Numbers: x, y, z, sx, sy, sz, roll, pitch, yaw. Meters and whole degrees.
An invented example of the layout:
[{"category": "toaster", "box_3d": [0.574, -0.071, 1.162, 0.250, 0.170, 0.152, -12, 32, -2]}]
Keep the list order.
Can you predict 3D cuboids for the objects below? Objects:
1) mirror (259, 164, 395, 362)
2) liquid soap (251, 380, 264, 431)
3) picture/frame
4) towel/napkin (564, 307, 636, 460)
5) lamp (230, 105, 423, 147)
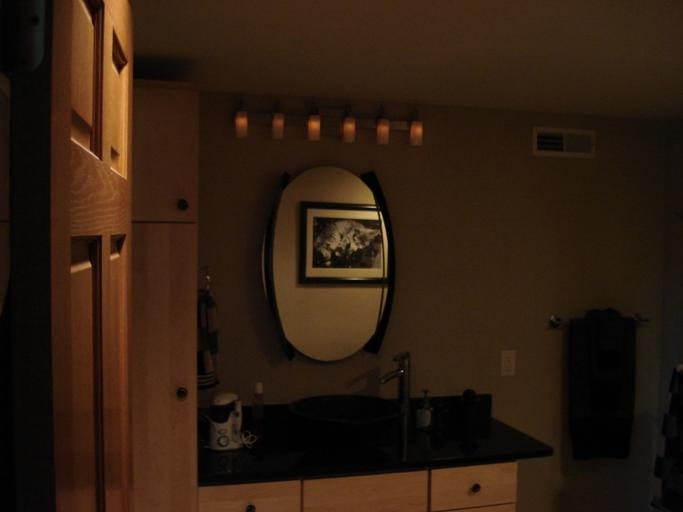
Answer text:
[{"category": "mirror", "box_3d": [-0.057, 0.078, 3.382, 0.595, 1.022, 0.141, 2, -28, 0]}, {"category": "liquid soap", "box_3d": [-0.371, 0.667, 3.084, 0.041, 0.215, 0.130, 3, -6, -11]}, {"category": "picture/frame", "box_3d": [-0.015, -0.067, 3.359, 0.317, 0.349, 0.023, 0, 1, -9]}, {"category": "towel/napkin", "box_3d": [1.299, 0.643, 3.520, 0.339, 0.750, 0.070, 3, -6, -7]}, {"category": "lamp", "box_3d": [-0.054, -0.658, 3.337, 0.894, 0.164, 0.228, -2, 14, -13]}]
